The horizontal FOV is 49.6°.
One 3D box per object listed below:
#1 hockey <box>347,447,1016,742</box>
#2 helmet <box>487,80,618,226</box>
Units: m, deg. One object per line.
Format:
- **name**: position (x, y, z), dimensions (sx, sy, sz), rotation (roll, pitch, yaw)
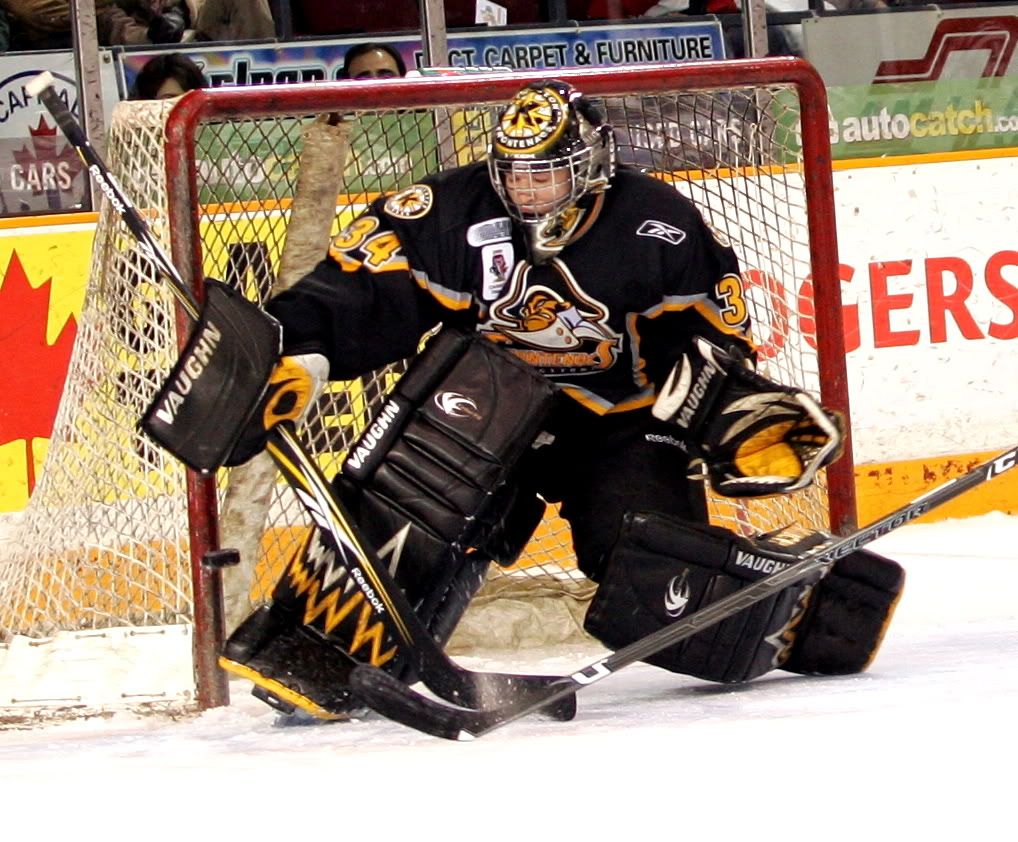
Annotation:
- **hockey**: position (0.330, 0.326, 2.101), dimensions (1.278, 0.317, 0.165), rotation (-3, 2, -11)
- **helmet**: position (0.012, -0.552, 2.256), dimensions (0.268, 0.248, 0.314), rotation (-4, 23, 28)
